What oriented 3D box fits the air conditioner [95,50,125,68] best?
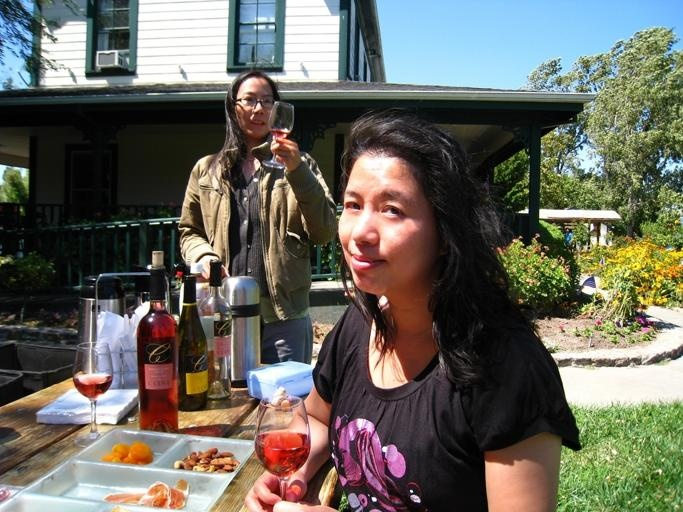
[{"bbox_3d":[-4.510,-3.811,11.526,0.514,0.342,0.354,0,-4,1],"label":"air conditioner"}]

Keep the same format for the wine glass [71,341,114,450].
[{"bbox_3d":[-1.077,0.579,2.522,0.159,0.388,0.200,4,8,-6],"label":"wine glass"}]
